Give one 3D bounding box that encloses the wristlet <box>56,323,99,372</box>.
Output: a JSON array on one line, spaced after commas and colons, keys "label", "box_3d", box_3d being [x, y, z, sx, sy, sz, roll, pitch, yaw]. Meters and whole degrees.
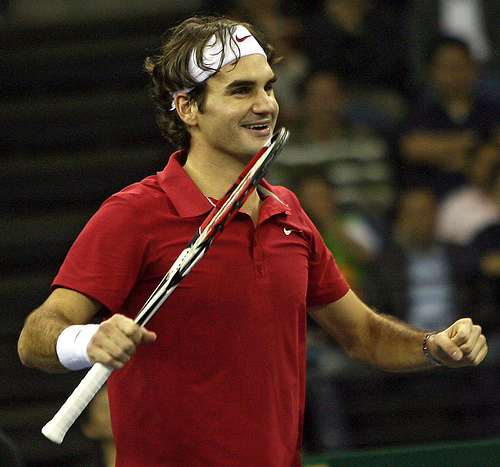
[{"label": "wristlet", "box_3d": [-0.591, 0.411, 2.977, 0.183, 0.143, 0.154, -16, 58, 25]}]
